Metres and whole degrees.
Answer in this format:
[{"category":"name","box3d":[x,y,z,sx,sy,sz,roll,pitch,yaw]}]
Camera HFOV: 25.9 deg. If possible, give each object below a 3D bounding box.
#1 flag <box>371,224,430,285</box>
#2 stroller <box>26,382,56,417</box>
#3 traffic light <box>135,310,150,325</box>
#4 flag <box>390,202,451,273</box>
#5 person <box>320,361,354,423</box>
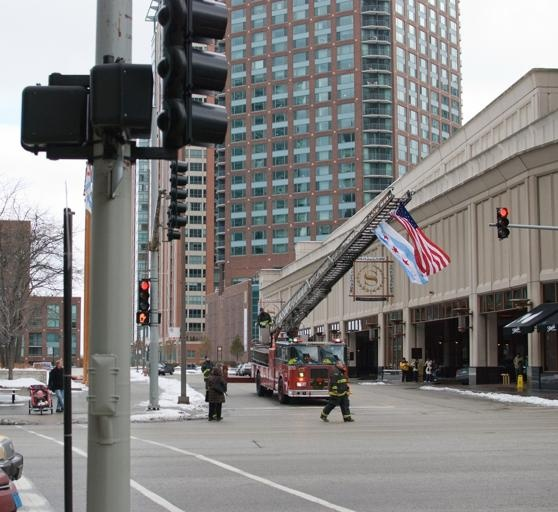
[{"category":"flag","box3d":[5.177,-0.132,52.009,0.849,0.426,3.581,-16,-53,35]},{"category":"stroller","box3d":[-7.594,4.620,38.631,0.716,0.763,1.241,0,3,-12]},{"category":"traffic light","box3d":[-3.974,1.800,35.523,0.372,0.391,0.147,3,-6,-33]},{"category":"flag","box3d":[5.947,-0.423,51.681,1.307,3.599,1.846,2,-3,-5]},{"category":"person","box3d":[1.685,3.943,34.722,0.717,1.699,0.596,6,-14,-8]}]
